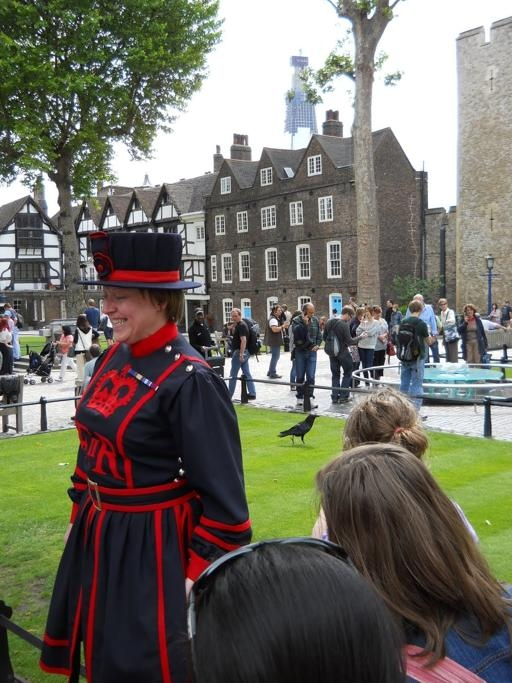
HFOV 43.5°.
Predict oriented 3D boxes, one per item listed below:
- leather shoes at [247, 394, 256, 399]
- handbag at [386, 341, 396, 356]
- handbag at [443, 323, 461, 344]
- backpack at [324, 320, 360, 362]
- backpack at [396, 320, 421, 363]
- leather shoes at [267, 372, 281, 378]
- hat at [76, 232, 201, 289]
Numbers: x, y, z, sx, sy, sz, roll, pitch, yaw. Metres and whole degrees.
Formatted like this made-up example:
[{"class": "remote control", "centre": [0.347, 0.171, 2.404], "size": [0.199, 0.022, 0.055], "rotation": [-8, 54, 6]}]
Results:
[{"class": "leather shoes", "centre": [-0.105, 1.140, 13.537], "size": [0.144, 0.100, 0.135], "rotation": [1, -4, -5]}, {"class": "handbag", "centre": [3.587, 0.179, 17.237], "size": [0.197, 0.455, 0.415], "rotation": [-19, 5, 9]}, {"class": "handbag", "centre": [5.240, -0.233, 17.423], "size": [0.415, 0.510, 0.210], "rotation": [-4, -7, 31]}, {"class": "backpack", "centre": [1.664, -0.087, 13.102], "size": [0.602, 0.793, 0.481], "rotation": [-4, 0, 4]}, {"class": "backpack", "centre": [2.376, 0.003, 10.043], "size": [0.355, 0.634, 0.293], "rotation": [-4, 0, 21]}, {"class": "leather shoes", "centre": [0.516, 0.900, 17.112], "size": [0.430, 0.160, 0.128], "rotation": [-2, 10, -23]}, {"class": "hat", "centre": [-0.456, -0.321, 2.563], "size": [0.525, 0.207, 0.492], "rotation": [7, 11, 18]}]
